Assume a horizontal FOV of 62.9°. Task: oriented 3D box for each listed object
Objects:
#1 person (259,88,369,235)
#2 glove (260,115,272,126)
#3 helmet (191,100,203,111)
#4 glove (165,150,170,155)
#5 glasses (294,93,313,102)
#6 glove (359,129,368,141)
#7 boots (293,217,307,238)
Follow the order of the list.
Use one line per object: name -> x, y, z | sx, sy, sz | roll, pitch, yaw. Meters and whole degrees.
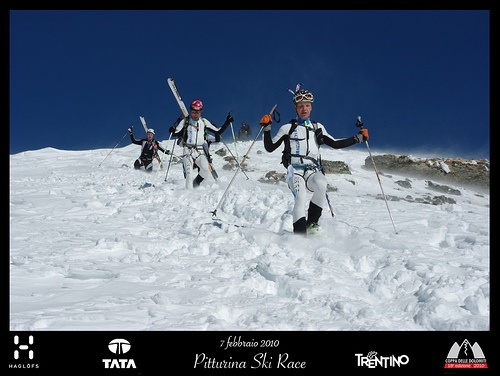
person -> 1.186, -0.619, 8.523 | 1.517, 2.995, 1.169 | -12, 13, -35
glove -> 0.345, -1.387, 8.357 | 0.242, 0.229, 0.131 | -11, 13, -32
helmet -> -1.712, -2.669, 13.287 | 0.428, 0.324, 0.297 | 1, 12, 24
glove -> -3.800, -1.644, 18.753 | 0.317, 0.170, 0.408 | -1, 2, -26
glasses -> 1.104, -1.852, 8.404 | 0.404, 0.180, 0.172 | 0, 12, 20
glove -> 2.332, -1.047, 8.211 | 0.137, 0.240, 0.432 | -3, 12, 8
boots -> 1.038, 0.814, 8.270 | 0.364, 0.507, 0.302 | -1, 4, 14
